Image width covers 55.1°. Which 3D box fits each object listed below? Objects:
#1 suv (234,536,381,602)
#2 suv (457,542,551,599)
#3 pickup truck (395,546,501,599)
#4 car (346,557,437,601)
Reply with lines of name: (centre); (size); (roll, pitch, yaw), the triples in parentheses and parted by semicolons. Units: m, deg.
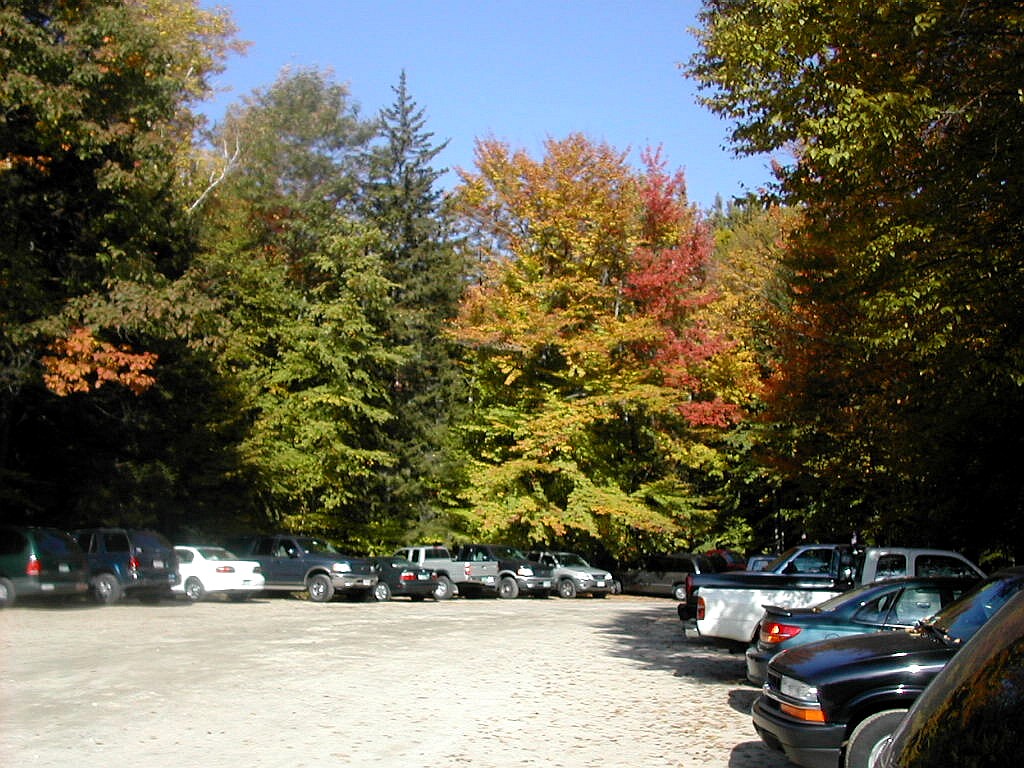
suv: (-6.596, 5.819, 31.217); (4.399, 1.554, 1.994); (-6, -10, 27)
suv: (-0.068, 7.117, 37.341); (3.051, 1.996, 2.458); (8, -14, -29)
pickup truck: (-2.458, 7.143, 37.099); (3.799, 1.635, 1.976); (-1, -8, 22)
car: (-3.811, 6.570, 32.917); (1.185, 0.894, 2.741); (3, -5, -33)
